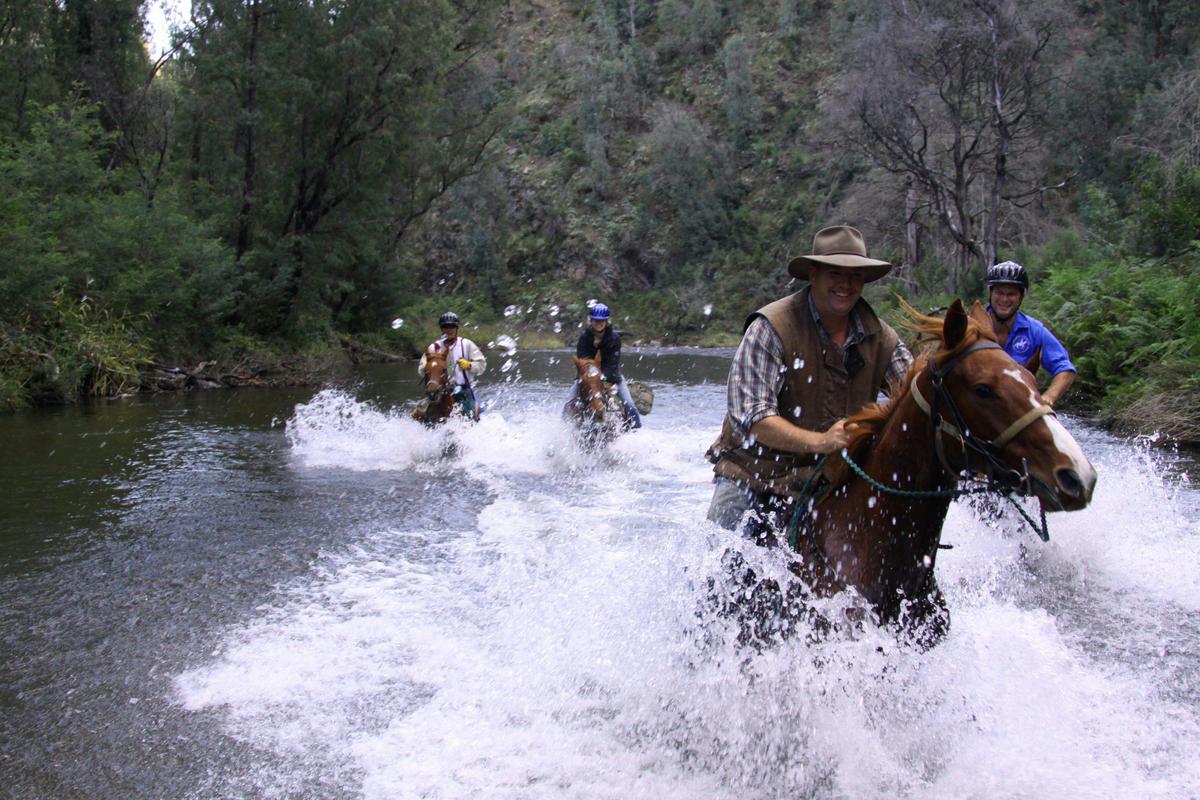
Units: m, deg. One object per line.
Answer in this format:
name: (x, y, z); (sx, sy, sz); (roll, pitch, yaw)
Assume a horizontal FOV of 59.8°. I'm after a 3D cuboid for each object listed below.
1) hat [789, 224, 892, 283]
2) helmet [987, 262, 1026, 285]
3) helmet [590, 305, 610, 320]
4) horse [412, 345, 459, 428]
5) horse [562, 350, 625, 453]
hat: (2.978, -1.908, 13.069); (0.757, 0.406, 0.896); (5, -21, 6)
helmet: (6.127, -1.895, 15.759); (0.498, 0.338, 0.414); (-2, 10, -19)
helmet: (-0.028, -1.826, 21.585); (0.395, 0.366, 0.540); (1, 10, -2)
horse: (-3.402, -0.326, 21.553); (0.741, 1.729, 1.135); (-1, 10, -15)
horse: (-0.076, 0.053, 22.024); (1.008, 1.789, 1.085); (8, 12, 35)
